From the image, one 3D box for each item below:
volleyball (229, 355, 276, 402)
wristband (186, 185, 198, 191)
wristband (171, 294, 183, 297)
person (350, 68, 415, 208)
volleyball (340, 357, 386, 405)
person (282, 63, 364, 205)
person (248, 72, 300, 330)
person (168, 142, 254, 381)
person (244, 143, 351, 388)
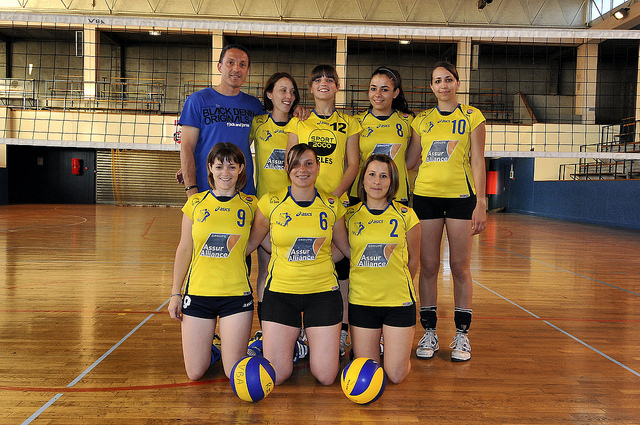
[{"bbox_3d":[-0.590,1.455,4.773,0.402,0.401,0.160,-2,8,-9],"label":"volleyball"},{"bbox_3d":[-1.241,-0.241,5.253,0.107,0.052,0.080,-3,8,-16],"label":"wristband"},{"bbox_3d":[-1.322,0.758,4.990,0.107,0.034,0.063,0,8,3],"label":"wristband"},{"bbox_3d":[0.640,-0.524,5.597,0.851,1.753,0.546,-3,10,-7],"label":"person"},{"bbox_3d":[0.353,1.462,4.829,0.395,0.370,0.386,31,28,-30],"label":"volleyball"},{"bbox_3d":[0.009,-0.516,5.357,0.867,1.830,0.565,3,8,11],"label":"person"},{"bbox_3d":[-0.461,-0.250,5.678,0.694,2.326,0.677,-3,28,-19],"label":"person"},{"bbox_3d":[-0.996,0.441,4.997,0.736,2.120,0.436,0,8,6],"label":"person"},{"bbox_3d":[-0.235,0.641,4.990,1.198,2.500,0.807,-2,14,-9],"label":"person"}]
